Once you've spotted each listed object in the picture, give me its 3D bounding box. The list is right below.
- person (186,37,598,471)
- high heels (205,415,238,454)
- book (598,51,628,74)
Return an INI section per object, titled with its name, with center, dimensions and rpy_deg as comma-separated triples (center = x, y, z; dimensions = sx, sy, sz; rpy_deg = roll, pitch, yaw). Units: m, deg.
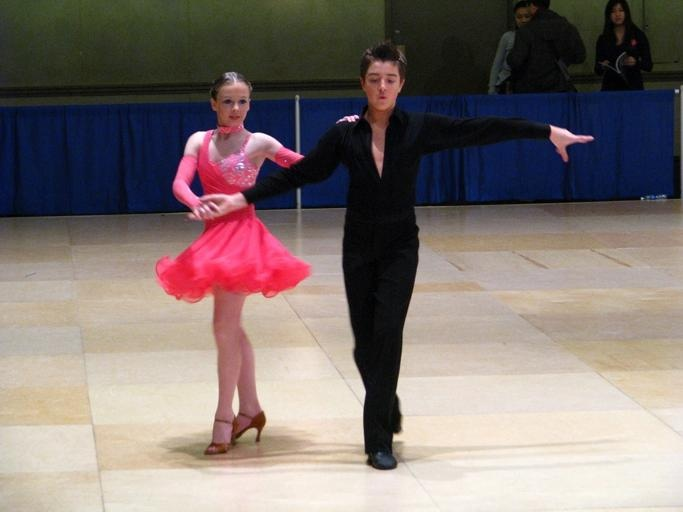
[person]
center = 0.180, -0.024, 3.362
dimensions = 1.437, 1.980, 0.624
rpy_deg = 2, 10, 17
[high heels]
center = -0.629, 0.932, 3.637
dimensions = 0.118, 0.141, 0.371
rpy_deg = -4, -2, 4
[book]
center = 4.869, -3.470, 12.415
dimensions = 0.423, 0.212, 0.313
rpy_deg = 8, 47, 51
